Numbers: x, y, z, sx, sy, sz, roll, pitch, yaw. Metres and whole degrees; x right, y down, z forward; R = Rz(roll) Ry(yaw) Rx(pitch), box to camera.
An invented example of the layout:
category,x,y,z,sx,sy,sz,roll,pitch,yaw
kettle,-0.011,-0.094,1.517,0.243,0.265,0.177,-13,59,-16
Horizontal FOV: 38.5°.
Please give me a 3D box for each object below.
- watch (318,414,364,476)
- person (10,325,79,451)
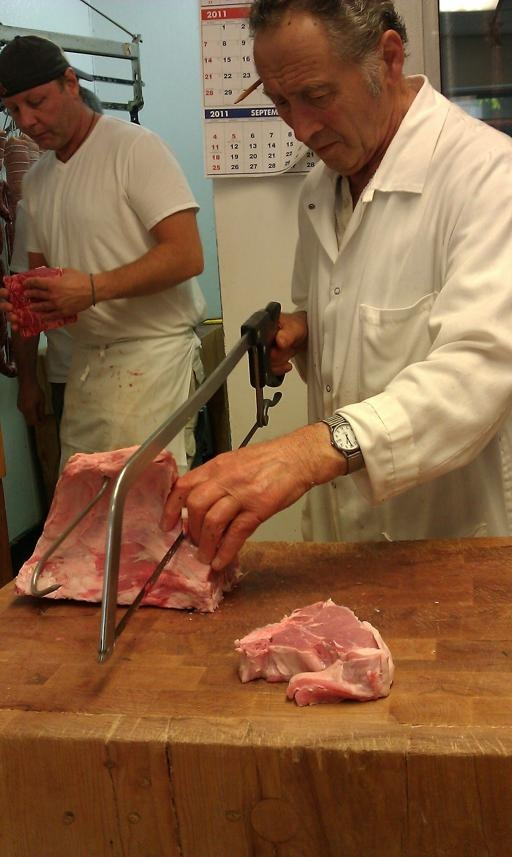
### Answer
category,x,y,z,sx,sy,sz,roll,pitch,yaw
watch,0.147,0.020,1.266,0.050,0.086,0.085,-27,-4,-11
person,-0.934,-0.221,3.216,0.180,0.712,0.140,21,-48,-36
